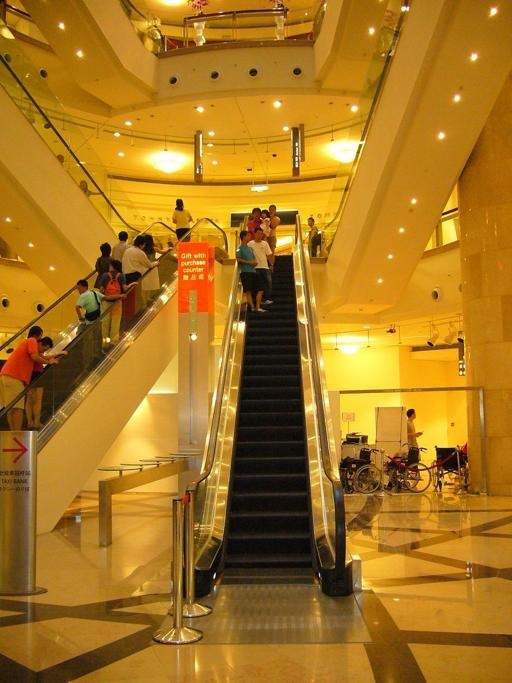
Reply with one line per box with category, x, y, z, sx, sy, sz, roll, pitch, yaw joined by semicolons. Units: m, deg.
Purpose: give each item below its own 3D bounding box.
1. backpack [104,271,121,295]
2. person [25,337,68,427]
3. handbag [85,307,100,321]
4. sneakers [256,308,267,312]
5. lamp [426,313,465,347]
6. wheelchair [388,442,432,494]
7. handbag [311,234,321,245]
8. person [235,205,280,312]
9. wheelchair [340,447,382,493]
backpack;-2.108;-0.854;7.606;0.237;0.398;0.220;2;-11;-19
person;-2.347;0.408;5.799;0.344;1.171;1.331;2;-11;-21
handbag;-2.288;-0.366;7.221;0.212;0.167;0.212;-1;-10;1
sneakers;0.100;-0.535;8.846;0.177;0.074;0.061;-2;-3;30
lamp;5.475;-0.345;14.895;0.796;0.570;1.061;-7;10;10
wheelchair;2.881;2.371;9.927;0.723;0.864;0.609;0;7;-3
handbag;1.666;-2.828;14.368;0.186;0.357;0.350;4;-10;-15
person;-0.024;-1.251;9.012;0.523;1.597;0.955;-3;-10;8
wheelchair;1.997;2.377;9.581;0.729;0.816;0.610;1;1;1
